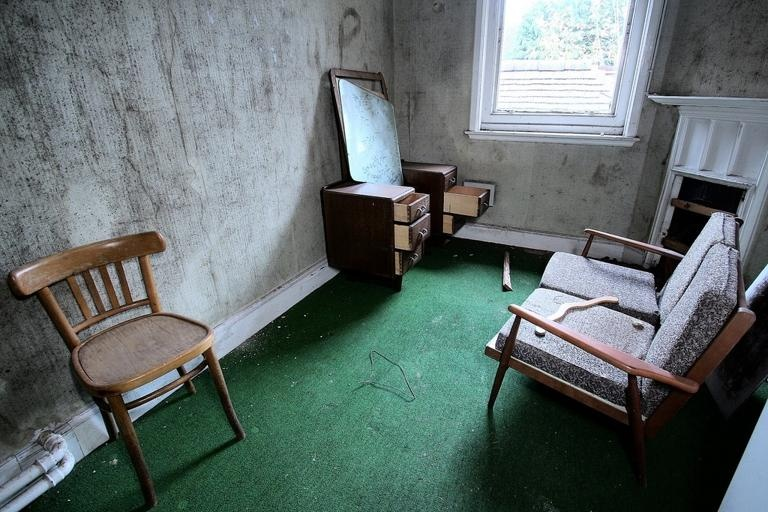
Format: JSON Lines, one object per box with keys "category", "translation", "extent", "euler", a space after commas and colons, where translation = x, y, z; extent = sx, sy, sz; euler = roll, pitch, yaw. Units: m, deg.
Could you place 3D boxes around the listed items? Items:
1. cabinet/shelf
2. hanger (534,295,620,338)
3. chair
{"category": "cabinet/shelf", "translation": [0.192, -0.179, 4.290], "extent": [1.091, 0.943, 1.508], "euler": [10, 30, 22]}
{"category": "hanger", "translation": [1.230, 0.328, 3.027], "extent": [0.738, 0.034, 0.243], "euler": [-20, 35, -26]}
{"category": "chair", "translation": [-1.414, 0.617, 2.693], "extent": [0.762, 1.312, 0.754], "euler": [22, 32, 39]}
